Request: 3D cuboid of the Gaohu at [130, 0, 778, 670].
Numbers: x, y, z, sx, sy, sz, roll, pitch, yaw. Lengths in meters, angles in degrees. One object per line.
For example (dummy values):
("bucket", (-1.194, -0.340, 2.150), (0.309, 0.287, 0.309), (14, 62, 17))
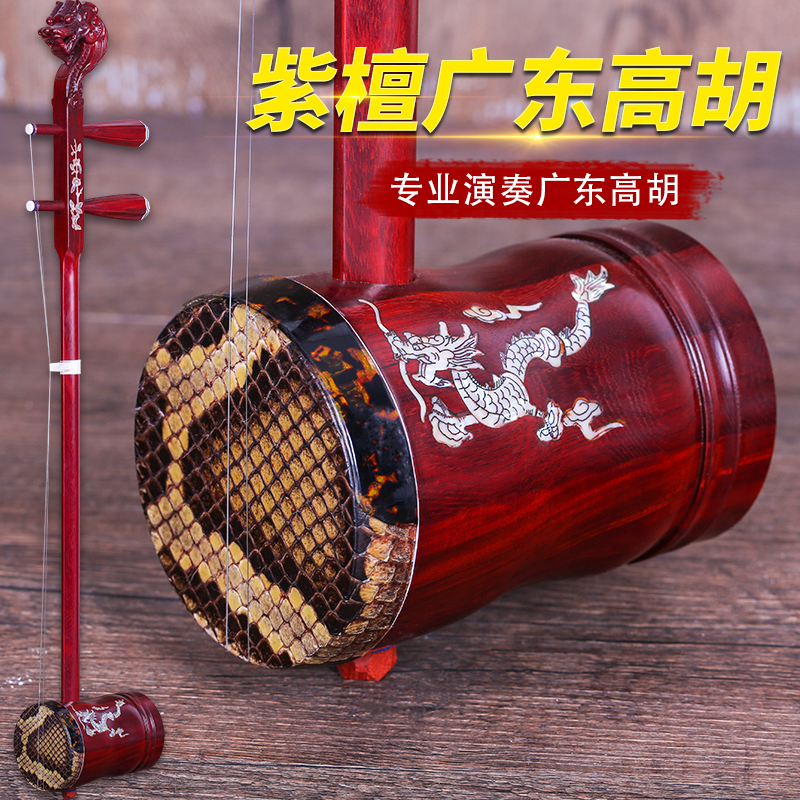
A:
("Gaohu", (0.084, -0.034, 1.194), (0.629, 0.529, 0.360), (-14, 29, -38))
